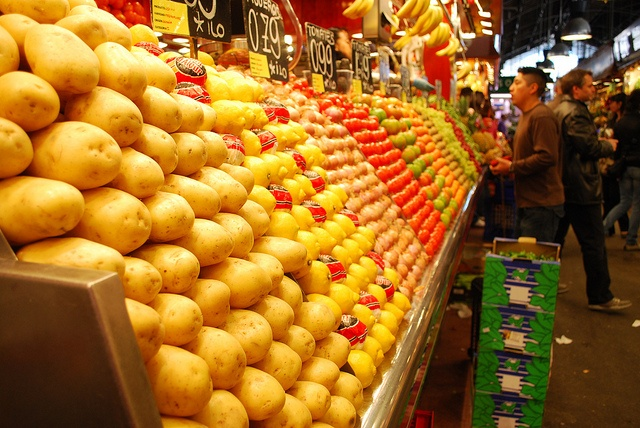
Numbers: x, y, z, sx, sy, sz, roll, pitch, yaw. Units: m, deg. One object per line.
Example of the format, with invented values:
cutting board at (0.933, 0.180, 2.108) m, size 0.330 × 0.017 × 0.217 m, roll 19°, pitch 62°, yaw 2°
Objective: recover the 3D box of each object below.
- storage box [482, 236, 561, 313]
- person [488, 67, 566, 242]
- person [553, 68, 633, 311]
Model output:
storage box at (1.243, 0.353, 2.807) m, size 0.396 × 0.338 × 0.421 m, roll 3°, pitch 13°, yaw 28°
person at (1.942, -0.518, 4.129) m, size 0.498 × 1.619 × 0.605 m, roll -5°, pitch 11°, yaw -10°
person at (2.669, -0.278, 4.615) m, size 0.650 × 2.342 × 1.175 m, roll 2°, pitch 12°, yaw 24°
